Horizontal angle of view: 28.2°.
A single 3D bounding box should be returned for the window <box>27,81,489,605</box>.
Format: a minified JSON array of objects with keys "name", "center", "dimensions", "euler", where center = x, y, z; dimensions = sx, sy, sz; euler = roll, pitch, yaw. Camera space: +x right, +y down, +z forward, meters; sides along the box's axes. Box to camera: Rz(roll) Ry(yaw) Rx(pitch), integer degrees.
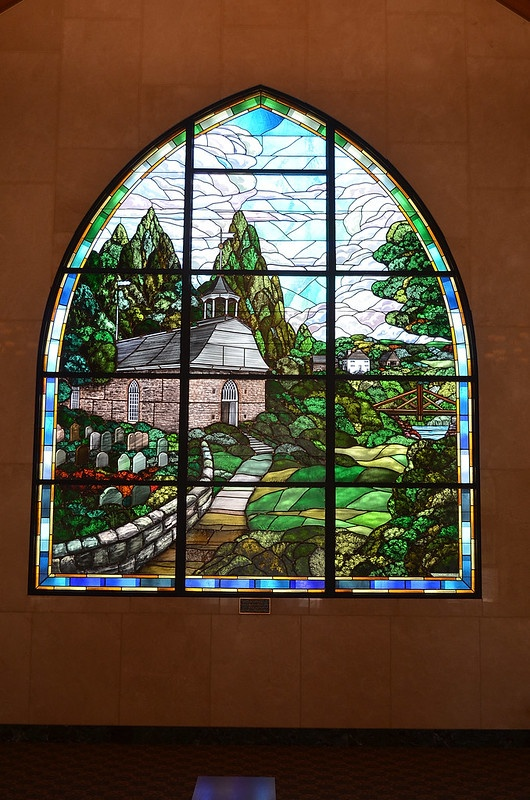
[{"name":"window","center":[-0.042,-0.394,6.768],"dimensions":[2.776,3.210,0.688],"euler":[1,6,0]}]
